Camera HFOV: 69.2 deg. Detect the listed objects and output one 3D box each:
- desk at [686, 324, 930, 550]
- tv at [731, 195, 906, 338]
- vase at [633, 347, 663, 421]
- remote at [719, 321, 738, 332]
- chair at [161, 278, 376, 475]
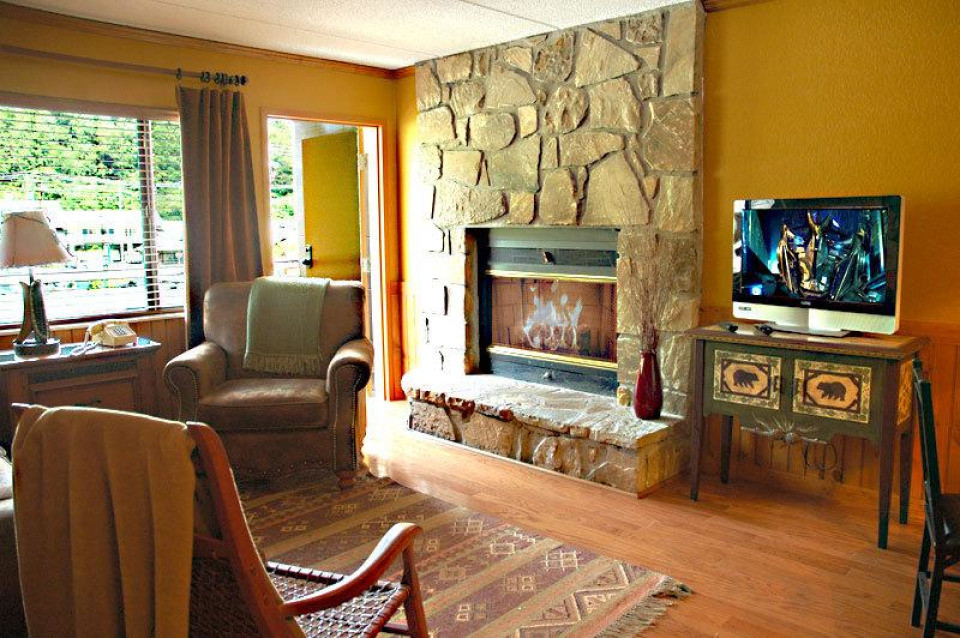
[{"bbox_3d":[1.839,0.610,3.999,1.131,1.045,0.512,6,8,43],"label":"desk"},{"bbox_3d":[1.896,-0.293,3.811,0.738,0.636,0.214,9,15,40],"label":"tv"},{"bbox_3d":[1.094,0.411,4.399,0.213,0.430,0.135,-5,9,-30],"label":"vase"},{"bbox_3d":[1.451,0.041,4.018,0.056,0.044,0.063,-5,1,-15],"label":"remote"},{"bbox_3d":[-1.333,0.372,4.600,1.149,1.272,1.032,-1,5,-9],"label":"chair"}]
